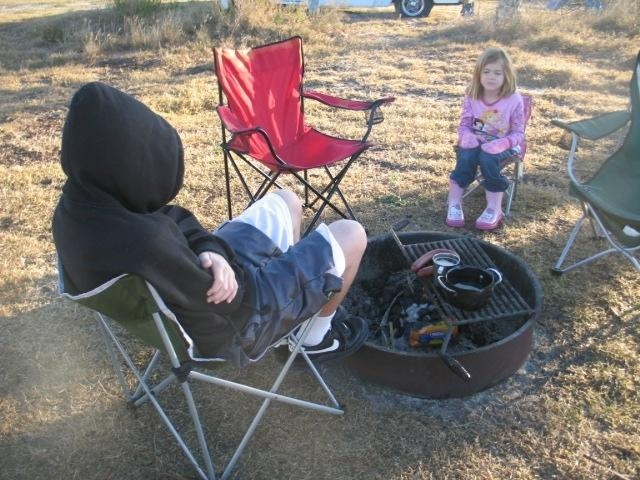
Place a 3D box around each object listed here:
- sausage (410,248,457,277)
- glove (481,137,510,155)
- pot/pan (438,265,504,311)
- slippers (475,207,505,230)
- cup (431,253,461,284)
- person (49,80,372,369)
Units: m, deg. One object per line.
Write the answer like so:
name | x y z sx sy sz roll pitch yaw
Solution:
sausage | 0.666 0.137 3.803 0.234 0.101 0.150 -26 30 17
glove | 1.277 -0.670 4.663 0.140 0.123 0.050 -2 27 12
pot/pan | 0.828 0.252 3.621 0.301 0.122 0.247 -19 39 -22
slippers | 1.232 -0.174 4.693 0.102 0.105 0.231 10 28 38
cup | 0.723 0.138 3.751 0.179 0.139 0.114 -31 38 -31
person | -0.722 -0.186 3.440 1.833 1.703 0.920 -12 26 -37
